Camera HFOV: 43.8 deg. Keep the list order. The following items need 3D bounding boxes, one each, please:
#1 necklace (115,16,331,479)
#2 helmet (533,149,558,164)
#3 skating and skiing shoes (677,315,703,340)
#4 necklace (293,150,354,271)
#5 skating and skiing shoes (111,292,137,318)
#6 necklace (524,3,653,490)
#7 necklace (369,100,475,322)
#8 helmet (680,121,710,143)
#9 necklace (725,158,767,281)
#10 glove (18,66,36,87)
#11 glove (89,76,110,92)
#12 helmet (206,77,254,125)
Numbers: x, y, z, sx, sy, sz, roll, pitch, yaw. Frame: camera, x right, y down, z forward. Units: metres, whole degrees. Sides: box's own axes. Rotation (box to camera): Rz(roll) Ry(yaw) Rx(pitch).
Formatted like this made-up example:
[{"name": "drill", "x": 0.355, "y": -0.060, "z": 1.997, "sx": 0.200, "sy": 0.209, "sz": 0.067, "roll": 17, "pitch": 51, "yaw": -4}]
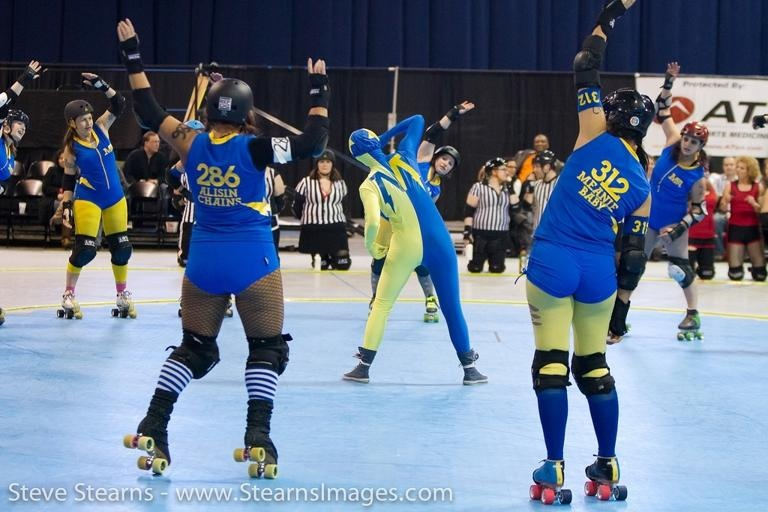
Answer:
[{"name": "necklace", "x": -1.354, "y": -0.085, "z": 8.449, "sx": 1.824, "sy": 3.558, "sz": 1.949, "roll": 1, "pitch": 4, "yaw": -7}, {"name": "helmet", "x": 2.440, "y": -1.490, "z": 14.454, "sx": 0.274, "sy": 0.241, "sz": 0.217, "roll": -4, "pitch": 7, "yaw": 39}, {"name": "skating and skiing shoes", "x": 3.559, "y": 0.860, "z": 11.196, "sx": 0.385, "sy": 0.296, "sz": 0.202, "roll": 7, "pitch": -9, "yaw": -41}, {"name": "necklace", "x": -1.056, "y": -0.760, "z": 16.210, "sx": 0.931, "sy": 1.906, "sz": 0.877, "roll": 1, "pitch": -7, "yaw": -3}, {"name": "skating and skiing shoes", "x": -3.214, "y": 0.621, "z": 11.740, "sx": 0.201, "sy": 0.262, "sz": 0.417, "roll": 2, "pitch": 6, "yaw": -7}, {"name": "necklace", "x": 1.632, "y": -0.077, "z": 7.579, "sx": 0.894, "sy": 3.744, "sz": 1.226, "roll": 9, "pitch": 15, "yaw": 32}, {"name": "necklace", "x": -0.016, "y": -0.968, "z": 10.648, "sx": 1.156, "sy": 2.853, "sz": 1.931, "roll": 2, "pitch": -11, "yaw": -2}, {"name": "helmet", "x": 3.545, "y": -1.398, "z": 10.890, "sx": 0.278, "sy": 0.261, "sz": 0.291, "roll": 4, "pitch": 13, "yaw": 13}, {"name": "necklace", "x": 6.077, "y": -0.619, "z": 15.828, "sx": 0.702, "sy": 1.999, "sz": 0.599, "roll": 6, "pitch": 14, "yaw": 19}, {"name": "glove", "x": -4.250, "y": -2.118, "z": 11.253, "sx": 0.202, "sy": 0.230, "sz": 0.425, "roll": -4, "pitch": 14, "yaw": -21}, {"name": "glove", "x": -3.408, "y": -2.037, "z": 11.299, "sx": 0.127, "sy": 0.180, "sz": 0.276, "roll": 5, "pitch": 13, "yaw": 16}, {"name": "helmet", "x": -1.273, "y": -1.286, "z": 7.890, "sx": 0.305, "sy": 0.330, "sz": 0.413, "roll": 7, "pitch": 21, "yaw": 1}]
